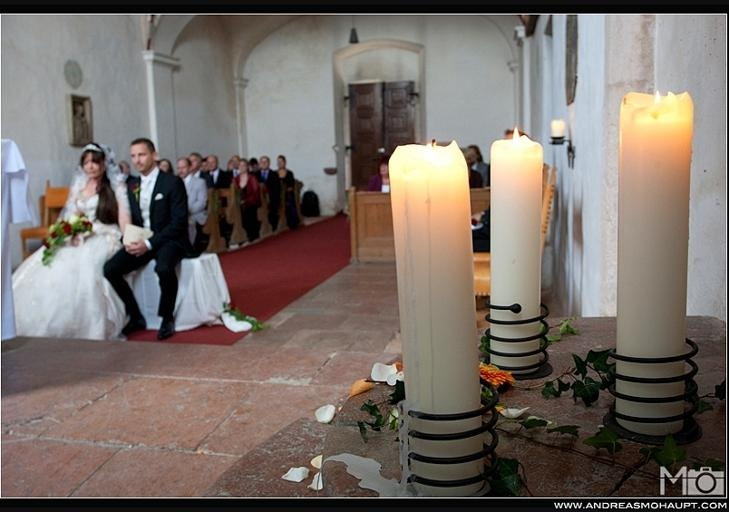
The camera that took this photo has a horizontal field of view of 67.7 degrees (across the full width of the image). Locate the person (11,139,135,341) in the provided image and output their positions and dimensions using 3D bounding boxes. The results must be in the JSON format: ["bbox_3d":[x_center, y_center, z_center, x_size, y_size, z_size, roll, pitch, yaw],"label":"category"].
[{"bbox_3d":[-2.544,-0.138,4.650,0.842,1.637,0.894,-3,10,-8],"label":"person"}]
